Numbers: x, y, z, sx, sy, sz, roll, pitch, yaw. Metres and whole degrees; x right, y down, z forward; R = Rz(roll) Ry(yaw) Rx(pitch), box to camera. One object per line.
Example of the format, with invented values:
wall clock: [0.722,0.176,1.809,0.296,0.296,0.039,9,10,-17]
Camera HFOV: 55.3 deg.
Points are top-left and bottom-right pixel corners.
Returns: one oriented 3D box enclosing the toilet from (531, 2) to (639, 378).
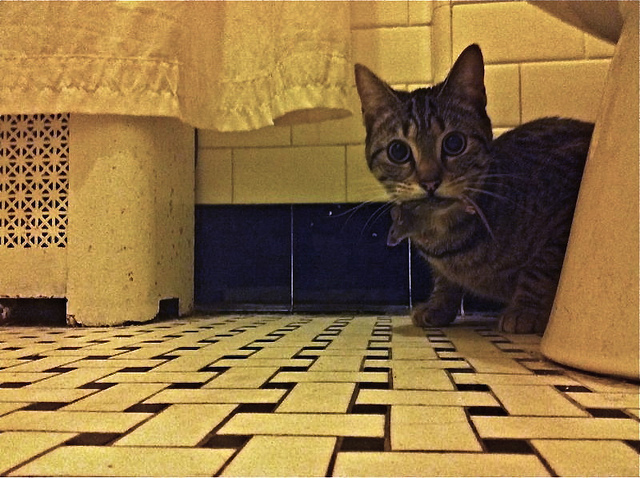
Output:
toilet: [0.816,-0.161,1.809,0.254,1.094,0.333,3,9,21]

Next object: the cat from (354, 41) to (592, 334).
cat: [0.960,-0.280,3.067,0.631,1.410,1.993,-1,12,43]
